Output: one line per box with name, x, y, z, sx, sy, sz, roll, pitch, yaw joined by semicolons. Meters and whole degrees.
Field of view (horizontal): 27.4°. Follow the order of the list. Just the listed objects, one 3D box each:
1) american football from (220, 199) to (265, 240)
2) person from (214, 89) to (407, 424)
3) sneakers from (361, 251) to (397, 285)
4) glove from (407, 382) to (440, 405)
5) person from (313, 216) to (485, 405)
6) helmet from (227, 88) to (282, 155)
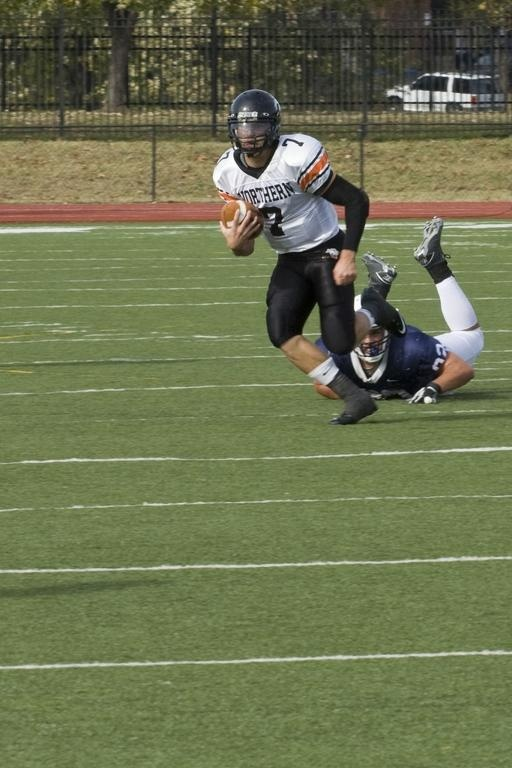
american football;-0.081;-0.799;5.106;0.186;0.142;0.209;17;-2;-24
person;0.194;-0.594;5.203;0.820;1.673;0.379;2;16;6
sneakers;0.698;-0.675;6.086;0.236;0.113;0.142;39;-7;15
glove;0.937;0.065;5.807;0.150;0.039;0.136;-22;17;-22
person;1.064;-0.382;6.072;0.814;0.770;1.409;-36;-8;26
helmet;-0.012;-1.269;5.068;0.246;0.298;0.304;0;14;-2
